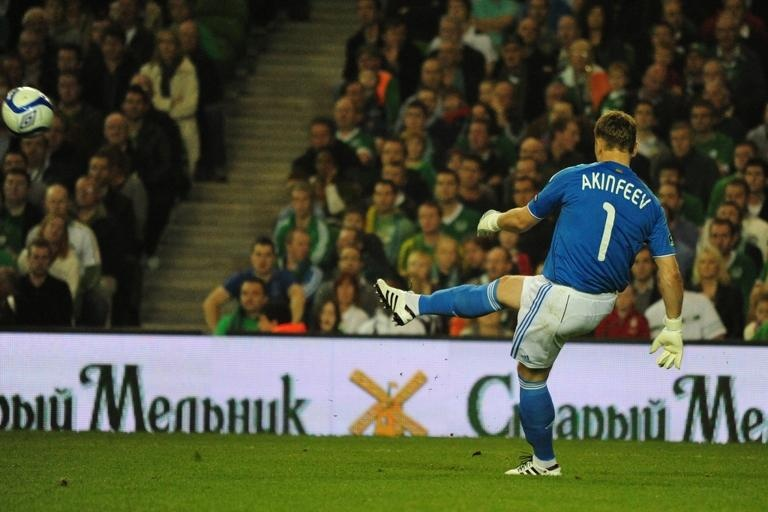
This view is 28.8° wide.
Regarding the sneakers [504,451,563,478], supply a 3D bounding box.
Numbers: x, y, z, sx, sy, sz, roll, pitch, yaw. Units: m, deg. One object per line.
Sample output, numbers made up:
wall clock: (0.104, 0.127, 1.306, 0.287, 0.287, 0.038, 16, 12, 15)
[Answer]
sneakers: (1.525, 2.125, 15.079, 0.626, 0.277, 0.223, 0, -8, 9)
